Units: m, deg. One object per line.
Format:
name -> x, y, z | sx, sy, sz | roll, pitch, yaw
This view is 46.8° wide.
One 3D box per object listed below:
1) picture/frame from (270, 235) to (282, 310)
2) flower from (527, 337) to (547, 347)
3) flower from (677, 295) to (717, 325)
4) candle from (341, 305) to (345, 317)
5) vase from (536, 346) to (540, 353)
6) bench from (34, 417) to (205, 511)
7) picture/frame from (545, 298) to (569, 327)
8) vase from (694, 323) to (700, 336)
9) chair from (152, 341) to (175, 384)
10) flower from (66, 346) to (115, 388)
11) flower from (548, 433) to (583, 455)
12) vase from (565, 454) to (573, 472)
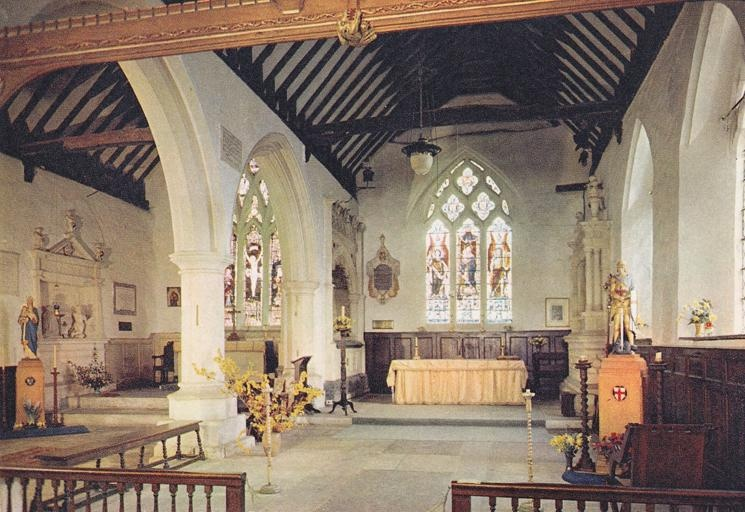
picture/frame -> -2.392, 0.325, 21.665 | 0.183, 1.890, 0.454 | 3, -8, -25
flower -> 3.981, 2.066, 20.870 | 0.289, 0.169, 0.298 | 2, -3, 4
flower -> 4.925, 0.821, 13.130 | 0.518, 0.426, 0.536 | -4, -8, 19
candle -> -0.622, 1.149, 18.150 | 0.058, 0.177, 0.273 | 1, -8, -11
vase -> 4.039, 2.298, 21.179 | 0.101, 0.151, 0.054 | 1, 2, 15
bench -> -3.609, 3.010, 12.511 | 1.564, 1.070, 4.401 | -2, -8, 7
picture/frame -> 4.575, 1.426, 21.386 | 0.662, 0.851, 0.057 | 0, -14, 8
vase -> 4.945, 1.128, 13.123 | 0.128, 0.196, 0.407 | -4, -9, 19
chair -> -5.030, 2.541, 20.791 | 0.536, 1.061, 1.078 | 1, -8, -15
flower -> -5.996, 2.455, 18.703 | 0.818, 0.987, 0.818 | 0, -7, 10
flower -> 2.830, 2.744, 12.568 | 0.407, 0.277, 0.715 | -3, -8, 13
vase -> 2.857, 2.986, 12.546 | 0.091, 0.269, 0.347 | -3, -8, 12
